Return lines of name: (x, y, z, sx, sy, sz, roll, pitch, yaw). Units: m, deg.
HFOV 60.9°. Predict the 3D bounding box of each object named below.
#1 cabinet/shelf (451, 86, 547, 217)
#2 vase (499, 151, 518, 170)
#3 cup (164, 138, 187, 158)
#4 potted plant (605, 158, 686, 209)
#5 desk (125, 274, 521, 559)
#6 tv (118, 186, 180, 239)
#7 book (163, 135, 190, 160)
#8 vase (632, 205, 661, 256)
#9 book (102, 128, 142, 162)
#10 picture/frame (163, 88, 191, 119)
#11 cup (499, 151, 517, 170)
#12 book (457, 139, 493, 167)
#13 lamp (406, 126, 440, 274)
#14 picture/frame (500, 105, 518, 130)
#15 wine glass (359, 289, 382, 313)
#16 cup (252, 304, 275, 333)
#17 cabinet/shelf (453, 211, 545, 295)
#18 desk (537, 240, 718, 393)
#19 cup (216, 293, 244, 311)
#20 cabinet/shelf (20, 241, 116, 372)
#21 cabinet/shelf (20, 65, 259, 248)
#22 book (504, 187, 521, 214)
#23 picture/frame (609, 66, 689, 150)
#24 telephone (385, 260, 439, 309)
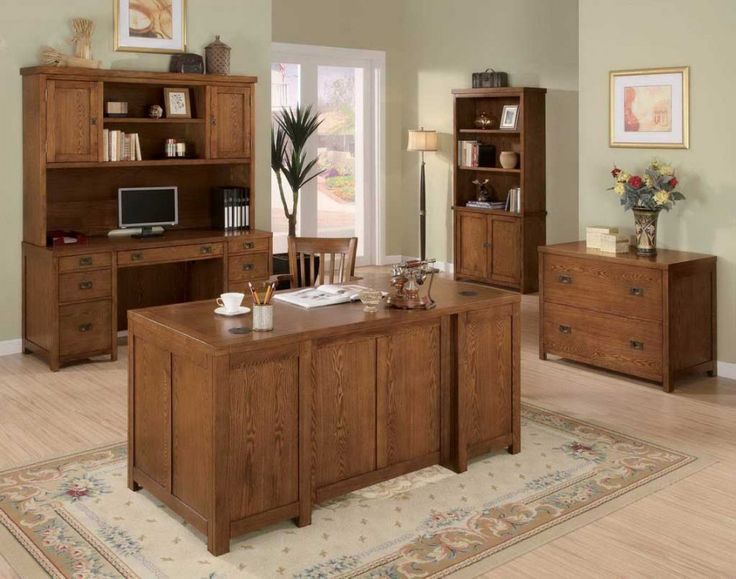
cabinet/shelf: (1.531, -1.621, 7.323, 0.533, 1.409, 1.131, -10, 15, -38)
vase: (1.582, -1.468, 7.193, 0.240, 0.173, 0.230, -7, 8, -39)
cup: (-1.678, -1.231, 5.467, 0.141, 0.208, 0.239, 1, 4, 4)
potted plant: (2.108, -0.753, 4.753, 0.405, 0.240, 0.459, -1, -3, -22)
desk: (-0.177, 0.542, 3.259, 1.846, 0.789, 0.889, -4, 8, -40)
tv: (-1.925, -0.671, 5.419, 0.540, 0.349, 0.154, -5, 7, -41)
book: (-1.693, -1.240, 5.515, 0.291, 0.240, 0.150, 0, 8, -9)
vase: (2.126, -0.437, 4.710, 0.299, 0.325, 0.285, 2, 7, 16)
book: (-2.002, -1.158, 5.062, 0.100, 0.247, 0.311, 9, 15, 38)
picture/frame: (-1.653, -1.598, 5.373, 0.313, 0.333, 0.027, -7, 8, -43)
cup: (1.597, -1.470, 7.156, 0.229, 0.192, 0.219, -3, 9, 1)
book: (1.257, -1.572, 7.509, 0.487, 0.397, 0.330, -2, 10, -15)
lamp: (0.718, -1.253, 8.280, 0.384, 1.708, 0.545, 1, 12, 5)
picture/frame: (1.595, -1.941, 7.066, 0.240, 0.273, 0.139, 9, 15, 37)
wine glass: (0.008, 0.052, 3.017, 0.108, 0.086, 0.103, -1, 3, -5)
cup: (-0.447, 0.124, 2.692, 0.114, 0.105, 0.110, 0, 6, 0)
cabinet/shelf: (1.573, -0.489, 7.433, 0.483, 0.915, 1.176, -10, 15, -32)
desk: (1.989, 0.159, 4.856, 0.638, 0.847, 1.136, -8, 11, -31)
cup: (-0.650, 0.054, 2.944, 0.105, 0.063, 0.117, -4, 8, 1)
cabinet/shelf: (-2.438, 0.122, 4.882, 0.784, 0.924, 0.418, 3, 12, 14)
cabinet/shelf: (-1.858, -1.172, 5.369, 1.798, 1.187, 0.432, -10, 19, -38)
book: (1.629, -0.999, 7.054, 0.169, 0.270, 0.300, 2, 11, 11)
picture/frame: (2.188, -1.412, 4.840, 0.036, 0.692, 0.756, -8, 12, -43)
telephone: (0.211, -0.036, 3.129, 0.243, 0.223, 0.224, -2, 13, -20)
